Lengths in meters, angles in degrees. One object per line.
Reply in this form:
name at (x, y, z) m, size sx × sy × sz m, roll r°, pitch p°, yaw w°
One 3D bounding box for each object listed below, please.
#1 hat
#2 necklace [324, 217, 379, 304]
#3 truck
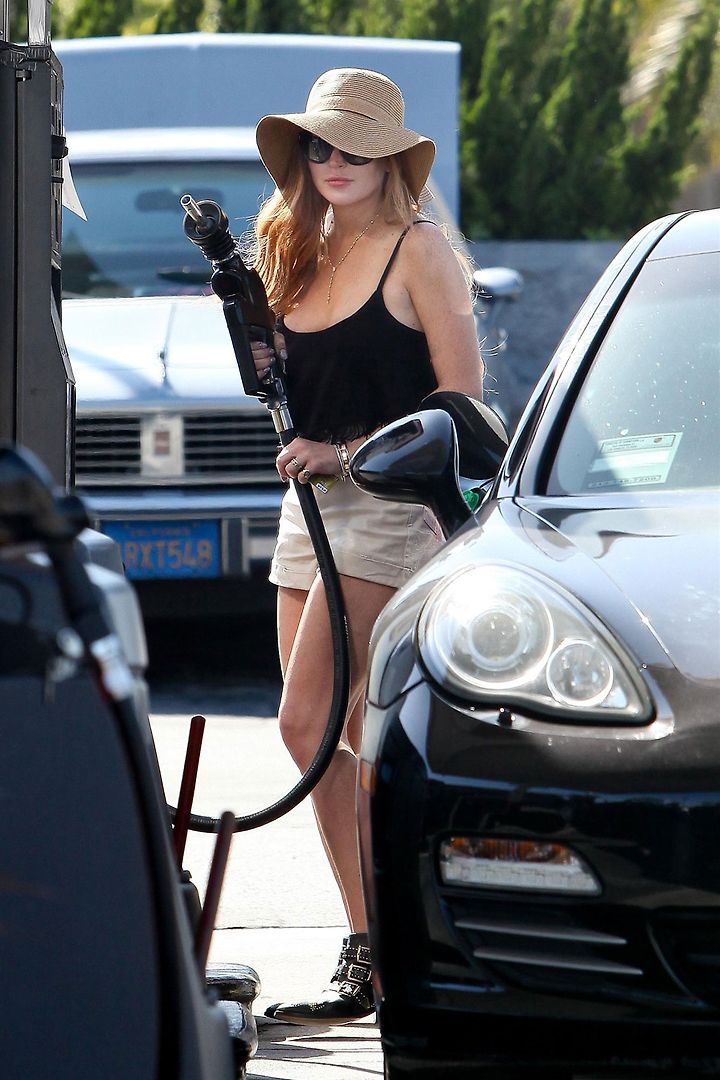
hat at (-0.017, -0.741, 3.158) m, size 0.290 × 0.300 × 0.145 m, roll 19°, pitch 75°, yaw 11°
necklace at (-0.034, -0.487, 3.029) m, size 0.056 × 0.011 × 0.148 m, roll 14°, pitch 62°, yaw 2°
truck at (-0.419, -0.891, 6.391) m, size 1.714 × 2.679 × 1.472 m, roll -1°, pitch 92°, yaw -1°
